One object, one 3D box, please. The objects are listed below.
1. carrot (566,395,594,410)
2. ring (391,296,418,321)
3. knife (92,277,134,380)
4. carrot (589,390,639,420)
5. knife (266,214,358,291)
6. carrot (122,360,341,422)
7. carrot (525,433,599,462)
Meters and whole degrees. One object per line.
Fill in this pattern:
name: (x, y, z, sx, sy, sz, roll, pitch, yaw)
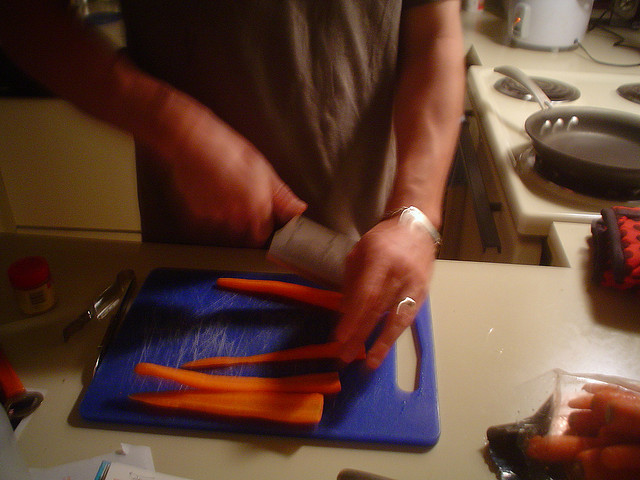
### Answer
carrot: (0.395, 0.247, 0.802, 0.028, 0.008, 0.022, -17, 11, 11)
ring: (0.141, 0.111, 0.870, 0.036, 0.009, 0.038, 11, 57, -18)
knife: (-0.349, 0.150, 0.952, 0.020, 0.031, 0.203, 15, 49, -1)
carrot: (0.426, 0.241, 0.770, 0.063, 0.033, 0.030, -2, 0, 29)
knife: (-0.015, 0.023, 0.962, 0.152, 0.059, 0.098, 23, 69, 6)
carrot: (-0.136, 0.279, 0.879, 0.345, 0.063, 0.123, 3, 38, 5)
carrot: (0.345, 0.298, 0.789, 0.120, 0.037, 0.036, -1, 59, 27)
